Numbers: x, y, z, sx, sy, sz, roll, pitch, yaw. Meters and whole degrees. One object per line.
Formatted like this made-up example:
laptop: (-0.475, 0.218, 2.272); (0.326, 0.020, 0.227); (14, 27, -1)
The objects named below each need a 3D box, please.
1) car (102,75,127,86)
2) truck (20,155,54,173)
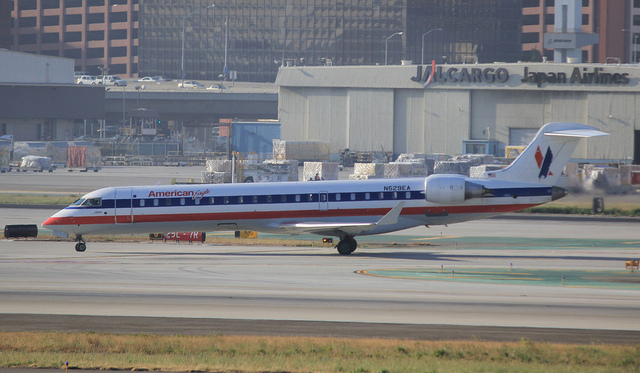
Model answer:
car: (-43.686, -22.610, 334.391); (4.721, 1.707, 2.537); (-1, 6, 19)
truck: (-51.691, -4.272, 287.225); (5.152, 1.999, 2.705); (1, 2, 9)
